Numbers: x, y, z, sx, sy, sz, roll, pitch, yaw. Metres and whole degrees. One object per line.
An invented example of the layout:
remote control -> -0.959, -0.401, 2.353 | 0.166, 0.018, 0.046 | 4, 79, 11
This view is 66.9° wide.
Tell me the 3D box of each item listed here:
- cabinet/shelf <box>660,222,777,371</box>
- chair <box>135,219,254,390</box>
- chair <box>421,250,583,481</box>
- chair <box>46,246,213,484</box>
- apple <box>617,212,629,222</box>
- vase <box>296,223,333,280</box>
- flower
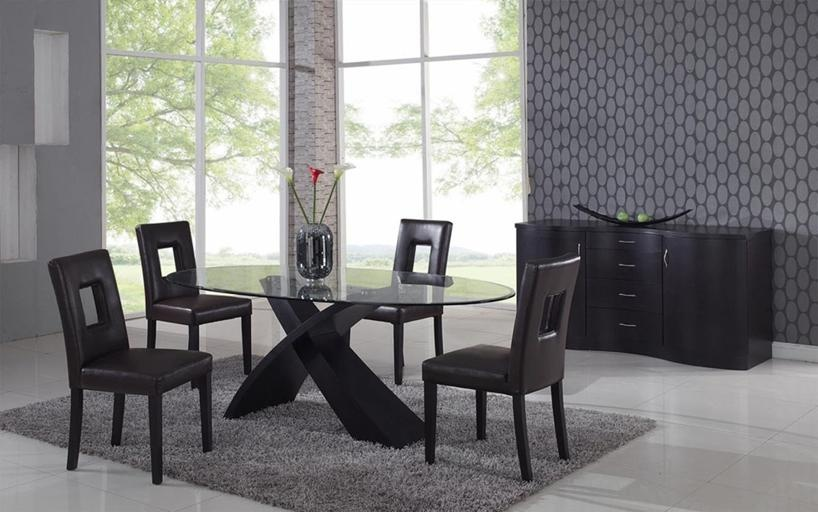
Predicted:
cabinet/shelf -> 2.787, 0.360, 5.557 | 1.008, 1.189, 0.556 | 2, 11, 14
chair -> -1.823, 0.368, 5.225 | 0.906, 1.211, 0.798 | 5, 9, 6
chair -> 0.606, 0.660, 3.946 | 0.841, 1.227, 0.740 | 0, 2, 31
chair -> -1.736, 0.652, 3.849 | 0.899, 1.202, 0.731 | 4, 6, -3
apple -> 2.108, -0.379, 6.021 | 0.131, 0.070, 0.132 | -2, 6, 1
vase -> -0.713, -0.033, 4.595 | 0.298, 0.420, 0.289 | -5, 8, -39
flower -> -0.885, -0.544, 6.009 | 0.707, 0.733, 0.592 | -8, 20, -20
